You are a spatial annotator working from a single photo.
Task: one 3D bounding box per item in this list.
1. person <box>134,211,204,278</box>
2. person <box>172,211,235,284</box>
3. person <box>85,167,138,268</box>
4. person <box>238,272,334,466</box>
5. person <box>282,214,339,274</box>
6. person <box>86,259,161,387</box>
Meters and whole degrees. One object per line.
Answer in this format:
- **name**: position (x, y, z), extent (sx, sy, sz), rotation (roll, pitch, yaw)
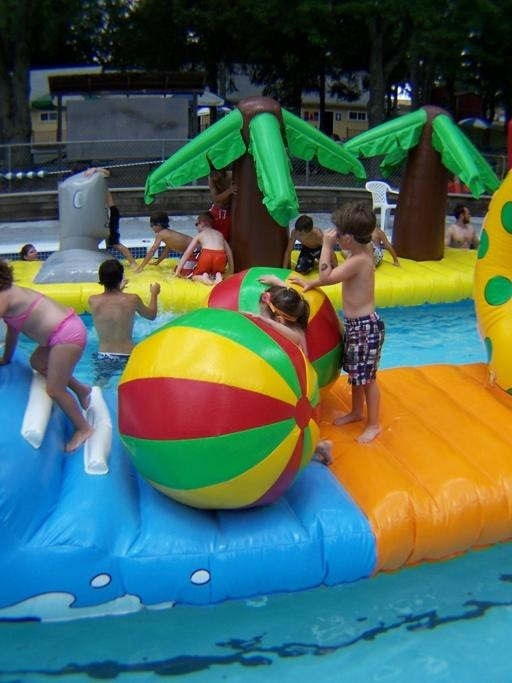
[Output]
- **person**: position (-0.970, -1.120, 7.041), extent (1.004, 0.781, 0.501), rotation (0, 18, 4)
- **person**: position (-0.535, -1.040, 6.526), extent (0.590, 0.726, 0.690), rotation (6, 13, 22)
- **person**: position (-1.896, -1.652, 7.768), extent (0.522, 1.199, 1.965), rotation (-2, 12, -12)
- **person**: position (0.189, 0.154, 2.791), extent (0.367, 0.850, 0.625), rotation (1, 13, 1)
- **person**: position (0.523, -1.016, 6.387), extent (0.636, 0.715, 0.418), rotation (16, 58, 23)
- **person**: position (-0.907, -0.116, 4.068), extent (0.455, 0.891, 0.527), rotation (-3, 13, -14)
